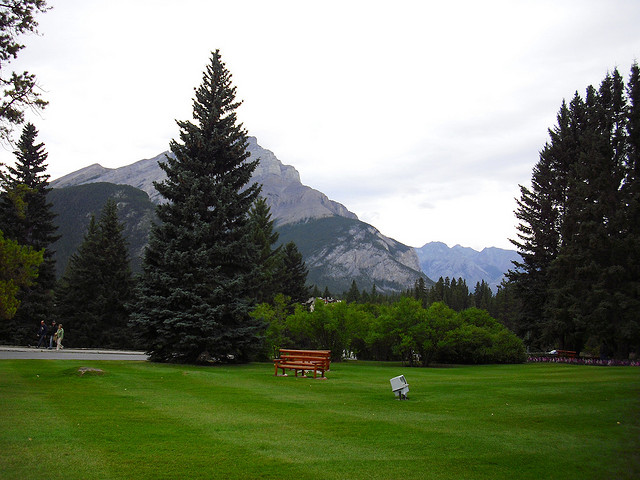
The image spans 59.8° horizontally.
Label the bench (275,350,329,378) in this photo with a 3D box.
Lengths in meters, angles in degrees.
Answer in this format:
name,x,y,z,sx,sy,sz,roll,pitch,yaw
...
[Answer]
name,x,y,z,sx,sy,sz,roll,pitch,yaw
bench,-1.091,7.276,33.083,2.625,1.566,3.093,15,-19,-42
